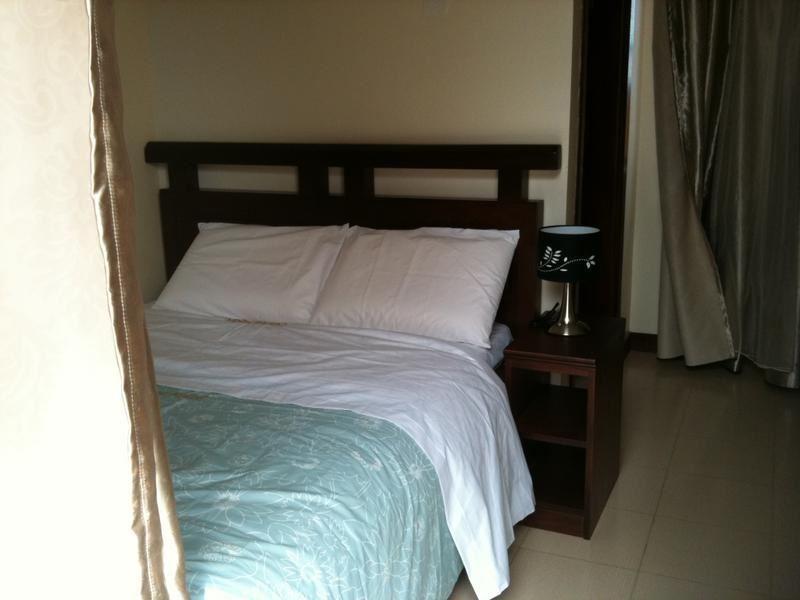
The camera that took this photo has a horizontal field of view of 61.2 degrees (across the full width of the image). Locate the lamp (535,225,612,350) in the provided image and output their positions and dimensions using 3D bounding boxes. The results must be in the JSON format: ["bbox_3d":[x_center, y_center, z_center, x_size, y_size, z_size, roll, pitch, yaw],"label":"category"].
[{"bbox_3d":[0.640,-0.094,2.576,0.221,0.386,0.327,3,19,16],"label":"lamp"}]
